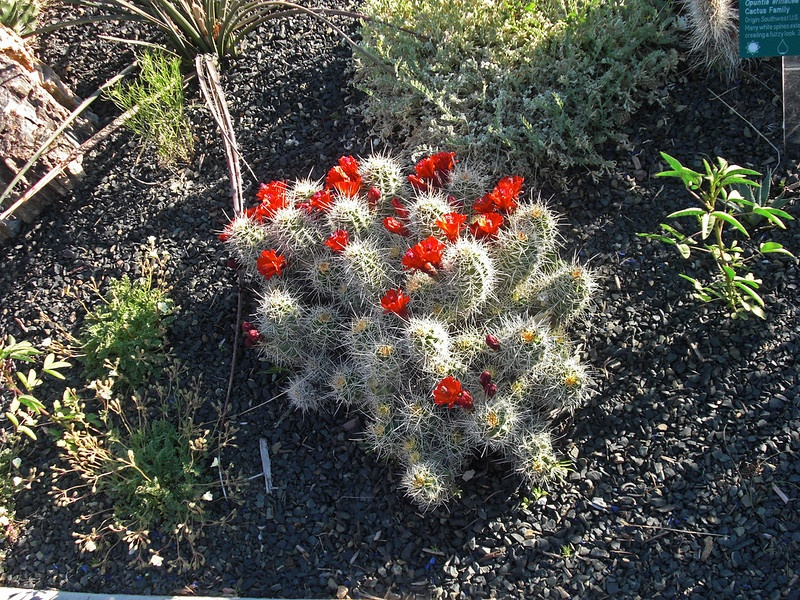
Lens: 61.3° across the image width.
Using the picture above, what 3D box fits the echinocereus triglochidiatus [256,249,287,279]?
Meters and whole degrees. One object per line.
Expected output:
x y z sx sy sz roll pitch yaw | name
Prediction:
-0.688 -0.215 3.634 0.143 0.087 0.151 -23 114 12 | echinocereus triglochidiatus

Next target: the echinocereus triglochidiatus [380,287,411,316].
-0.024 0.013 3.373 0.127 0.129 0.118 -44 113 -17 | echinocereus triglochidiatus

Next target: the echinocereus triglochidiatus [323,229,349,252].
-0.335 -0.299 3.499 0.110 0.111 0.057 -41 55 15 | echinocereus triglochidiatus

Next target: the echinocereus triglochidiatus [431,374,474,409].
0.263 0.453 3.208 0.167 0.166 0.167 23 78 -30 | echinocereus triglochidiatus

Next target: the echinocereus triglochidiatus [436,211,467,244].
0.252 -0.374 3.469 0.147 0.289 0.140 18 81 6 | echinocereus triglochidiatus
